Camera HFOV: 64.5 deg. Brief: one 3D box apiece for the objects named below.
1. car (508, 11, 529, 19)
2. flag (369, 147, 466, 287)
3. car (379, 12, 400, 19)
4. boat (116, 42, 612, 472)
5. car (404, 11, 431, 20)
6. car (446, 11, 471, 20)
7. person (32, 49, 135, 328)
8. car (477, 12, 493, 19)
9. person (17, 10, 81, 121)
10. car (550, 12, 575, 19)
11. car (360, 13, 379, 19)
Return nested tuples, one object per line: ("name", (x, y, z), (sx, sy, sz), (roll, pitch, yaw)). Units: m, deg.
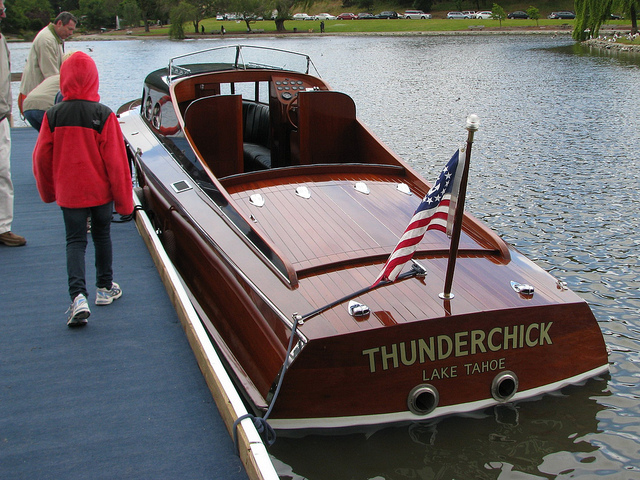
("car", (25.745, -29.102, 65.747), (2.316, 0.792, 2.267), (7, 23, 14))
("flag", (0.749, -0.171, 3.412), (0.335, 0.125, 1.176), (16, 67, 21))
("car", (9.841, -31.913, 71.969), (2.686, 0.721, 1.622), (2, 22, 1))
("boat", (-0.463, -0.310, 5.242), (2.738, 2.123, 5.468), (-9, 29, -24))
("car", (13.678, -31.808, 71.617), (3.369, 1.412, 7.588), (4, 22, 7))
("car", (18.569, -29.923, 68.280), (3.607, 1.150, 1.479), (4, 34, 12))
("person", (-1.703, -0.345, 3.673), (0.585, 1.898, 0.650), (-12, 27, -27))
("car", (21.714, -29.746, 67.021), (1.552, 0.768, 1.728), (6, 22, 10))
("person", (-3.148, -1.799, 5.897), (0.516, 1.541, 0.681), (11, 16, -18))
("car", (30.529, -28.193, 63.595), (2.329, 0.846, 2.909), (3, 22, 5))
("car", (7.244, -32.407, 73.492), (2.471, 1.054, 1.285), (-9, 34, -7))
